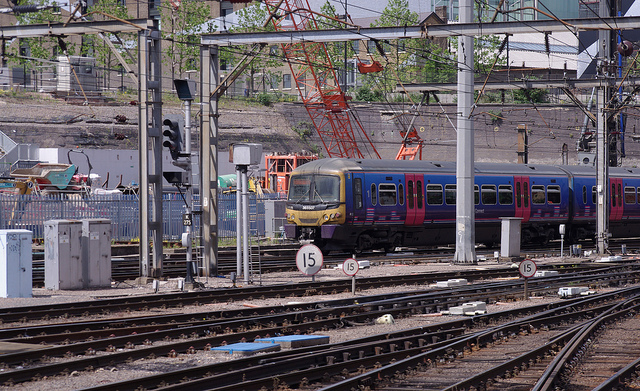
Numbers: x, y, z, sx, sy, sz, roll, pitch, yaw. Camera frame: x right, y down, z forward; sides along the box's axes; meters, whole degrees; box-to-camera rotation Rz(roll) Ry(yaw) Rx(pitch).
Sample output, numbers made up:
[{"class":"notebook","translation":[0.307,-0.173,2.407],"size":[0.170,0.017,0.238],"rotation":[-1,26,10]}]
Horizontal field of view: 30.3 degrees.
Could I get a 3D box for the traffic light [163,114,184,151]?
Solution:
[{"class":"traffic light","translation":[-6.888,-2.941,55.558],"size":[0.943,1.687,1.166],"rotation":[-1,-2,-9]}]
